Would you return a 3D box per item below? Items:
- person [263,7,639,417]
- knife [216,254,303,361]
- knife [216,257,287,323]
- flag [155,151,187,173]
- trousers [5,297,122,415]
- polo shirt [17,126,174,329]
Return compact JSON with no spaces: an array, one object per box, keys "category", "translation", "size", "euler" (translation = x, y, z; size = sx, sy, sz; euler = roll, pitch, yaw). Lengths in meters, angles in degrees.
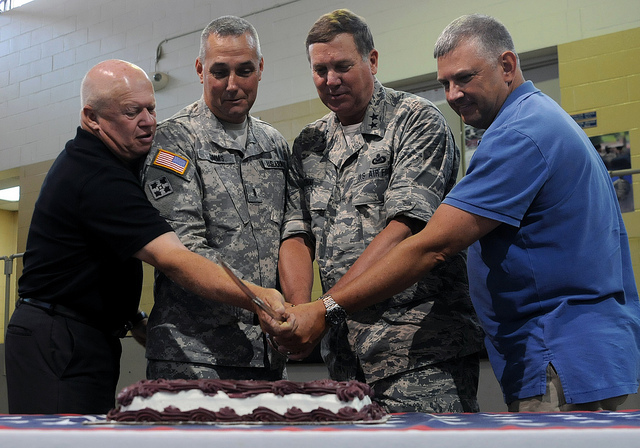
[{"category":"person","translation":[0.565,-0.048,2.708],"size":[1.099,1.478,0.713],"euler":[-5,11,20]},{"category":"knife","translation":[-0.237,0.265,2.714],"size":[0.178,0.539,0.039],"euler":[-40,56,6]},{"category":"knife","translation":[-0.290,0.273,2.917],"size":[0.043,0.488,0.062],"euler":[-28,44,24]},{"category":"flag","translation":[-0.620,-0.260,2.999],"size":[0.114,0.018,0.061],"euler":[24,64,7]},{"category":"trousers","translation":[-1.082,0.560,2.992],"size":[0.466,0.507,0.239],"euler":[-11,10,-14]},{"category":"polo shirt","translation":[-0.940,0.030,3.045],"size":[0.738,0.872,0.295],"euler":[-6,11,13]}]
